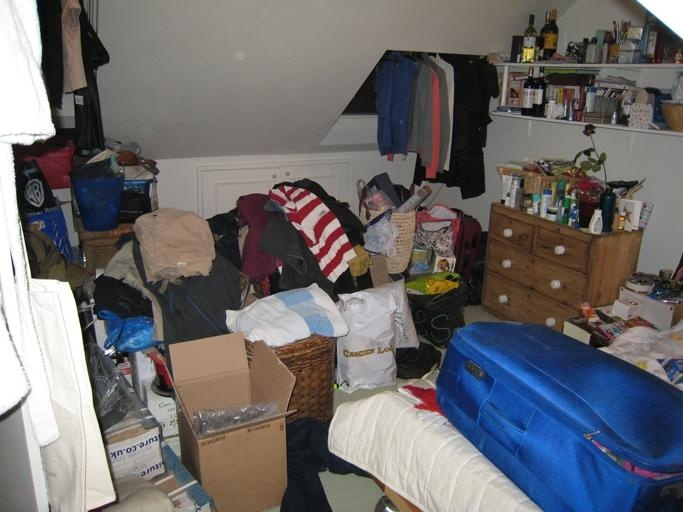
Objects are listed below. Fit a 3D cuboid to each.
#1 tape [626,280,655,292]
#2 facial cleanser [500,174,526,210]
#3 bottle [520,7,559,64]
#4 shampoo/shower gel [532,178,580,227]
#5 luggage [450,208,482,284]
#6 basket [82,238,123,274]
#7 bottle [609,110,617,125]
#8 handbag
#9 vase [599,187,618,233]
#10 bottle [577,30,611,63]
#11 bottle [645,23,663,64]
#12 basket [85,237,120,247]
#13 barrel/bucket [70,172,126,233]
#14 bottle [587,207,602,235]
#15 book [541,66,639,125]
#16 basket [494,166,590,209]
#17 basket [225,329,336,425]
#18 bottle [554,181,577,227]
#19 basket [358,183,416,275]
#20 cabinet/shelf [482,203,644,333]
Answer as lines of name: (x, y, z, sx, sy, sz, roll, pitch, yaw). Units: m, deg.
tape: (1.764, 0.176, 3.062, 0.078, 0.032, 0.079, -3, 11, -12)
facial cleanser: (1.183, -0.443, 3.569, 0.094, 0.274, 0.175, -12, 23, -28)
bottle: (1.386, -1.538, 3.644, 0.230, 0.324, 0.334, 2, 18, 19)
shampoo/shower gel: (1.350, -0.365, 3.351, 0.315, 0.358, 0.245, 3, 8, -1)
luggage: (0.944, -0.069, 4.002, 0.199, 0.559, 0.391, 12, 23, 42)
basket: (-1.454, -0.019, 3.202, 0.212, 0.214, 0.210, -11, 20, -34)
bottle: (1.685, -0.859, 3.207, 0.041, 0.073, 0.071, 5, 19, 26)
handbag: (0.143, 0.506, 2.977, 0.428, 0.611, 0.221, -4, 7, -40)
vase: (1.620, -0.288, 3.155, 0.120, 0.255, 0.123, 7, 15, 41)
bottle: (1.618, -1.325, 3.274, 0.137, 0.200, 0.175, 6, 19, 29)
bottle: (1.836, -1.251, 3.040, 0.086, 0.213, 0.158, 6, 19, 29)
basket: (-1.429, -0.083, 3.082, 0.111, 0.038, 0.112, 0, 7, -7)
barrel/bucket: (-1.449, -0.331, 3.085, 0.276, 0.347, 0.186, -10, 29, -35)
bottle: (1.526, -0.211, 3.116, 0.072, 0.144, 0.113, 10, 21, 37)
book: (1.599, -1.018, 3.341, 0.496, 0.176, 0.369, -5, 20, -17)
basket: (1.305, -0.513, 3.514, 0.339, 0.138, 0.366, -1, 17, -4)
basket: (-0.231, 0.671, 2.735, 0.436, 0.338, 0.419, -15, -14, 25)
bottle: (1.439, -0.350, 3.322, 0.131, 0.242, 0.241, 4, 18, 22)
basket: (0.309, -0.159, 3.730, 0.415, 0.559, 0.557, 1, 17, 13)
cabinet/shelf: (1.418, 0.057, 3.574, 0.482, 0.813, 0.809, -27, 32, -29)
